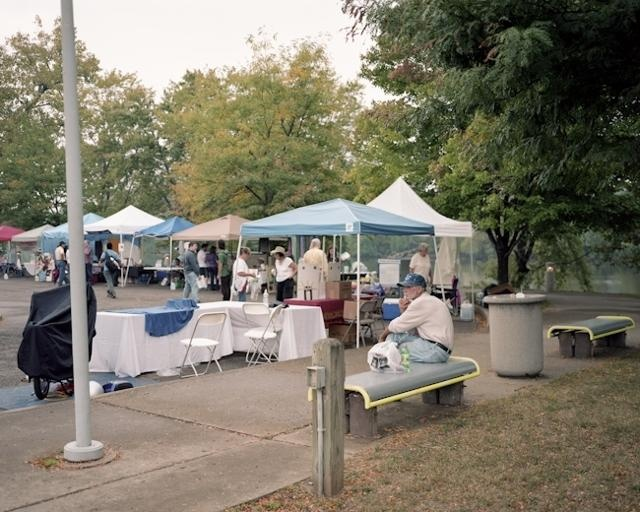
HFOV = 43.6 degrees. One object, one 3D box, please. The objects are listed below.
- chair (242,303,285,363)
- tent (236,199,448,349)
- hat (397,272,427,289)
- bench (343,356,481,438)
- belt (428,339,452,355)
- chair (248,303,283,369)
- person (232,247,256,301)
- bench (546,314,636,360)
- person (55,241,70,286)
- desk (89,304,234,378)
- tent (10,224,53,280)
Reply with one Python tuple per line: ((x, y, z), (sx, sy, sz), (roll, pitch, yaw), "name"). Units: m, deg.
((-0.954, 1.404, 14.287), (0.901, 1.312, 0.780), (0, -1, 0), "chair")
((0.034, 0.450, 16.495), (2.976, 2.059, 3.088), (3, 4, 34), "tent")
((1.277, 0.333, 10.908), (0.314, 0.196, 0.226), (0, -2, 4), "hat")
((1.101, 1.740, 10.099), (2.005, 0.673, 0.616), (-6, 9, -41), "bench")
((1.584, 1.186, 10.593), (0.213, 0.055, 0.209), (28, -12, 21), "belt")
((-0.955, 1.420, 14.290), (0.875, 1.277, 0.760), (0, 0, 1), "chair")
((-1.949, 0.520, 20.848), (0.527, 0.698, 1.570), (-10, -38, -11), "person")
((4.818, 1.458, 14.376), (0.779, 0.606, 1.852), (6, 9, 44), "bench")
((-8.986, 0.362, 28.036), (0.360, 1.575, 3.022), (-3, 7, -18), "person")
((-2.644, 1.338, 13.376), (1.091, 1.009, 1.887), (-2, -3, 38), "desk")
((-14.213, -0.117, 39.576), (2.632, 2.542, 2.735), (-2, -3, 32), "tent")
